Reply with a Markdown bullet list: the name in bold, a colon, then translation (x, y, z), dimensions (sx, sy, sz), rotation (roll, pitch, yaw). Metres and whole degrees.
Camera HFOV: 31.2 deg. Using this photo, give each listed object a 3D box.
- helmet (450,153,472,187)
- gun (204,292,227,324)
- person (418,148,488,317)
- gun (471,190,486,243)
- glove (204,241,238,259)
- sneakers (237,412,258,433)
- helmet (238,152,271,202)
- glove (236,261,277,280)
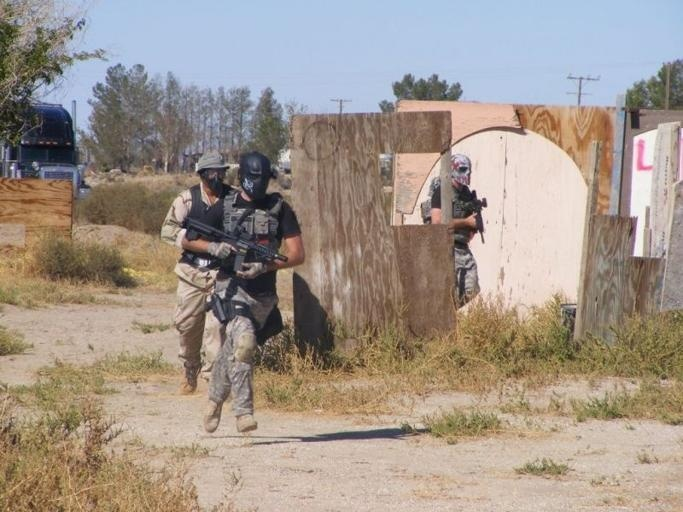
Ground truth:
- **helmet**: translation (1.737, -1.294, 18.082), dimensions (0.285, 0.507, 0.405), rotation (-2, 3, -28)
- **gun**: translation (-1.552, 0.632, 14.997), dimensions (0.057, 0.438, 0.236), rotation (-2, -18, -27)
- **person**: translation (1.634, -0.427, 17.905), dimensions (0.821, 2.140, 1.401), rotation (4, 15, 19)
- **gun**: translation (2.063, -0.575, 18.577), dimensions (0.127, 0.846, 0.441), rotation (0, 1, 2)
- **glove**: translation (-1.489, -0.091, 14.991), dimensions (0.197, 0.183, 0.467), rotation (-12, 21, -37)
- **sneakers**: translation (-1.137, 1.946, 14.355), dimensions (0.139, 0.216, 0.263), rotation (-1, 2, -12)
- **helmet**: translation (-1.144, -1.009, 15.198), dimensions (0.340, 0.581, 0.489), rotation (7, 1, -33)
- **glove**: translation (-1.073, 0.158, 14.862), dimensions (0.303, 0.114, 0.142), rotation (-10, -9, 6)
